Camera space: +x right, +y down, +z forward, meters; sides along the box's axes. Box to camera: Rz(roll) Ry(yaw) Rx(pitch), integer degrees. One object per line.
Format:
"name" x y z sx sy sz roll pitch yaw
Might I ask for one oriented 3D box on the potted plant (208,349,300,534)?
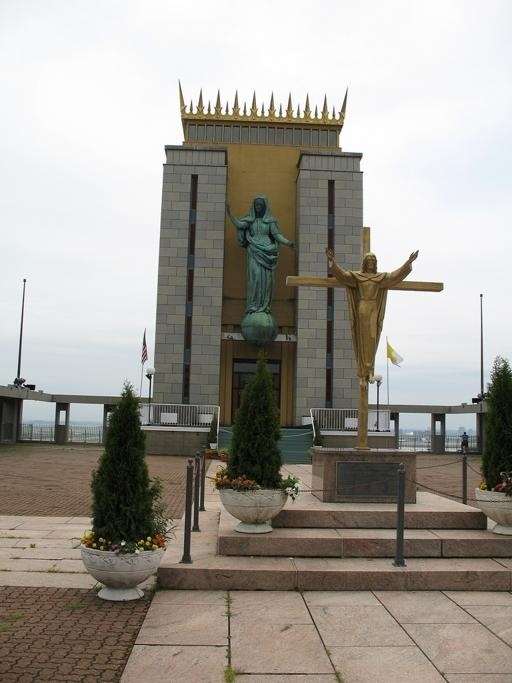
"potted plant" -0.010 1.253 8.170 0.933 2.130 0.559 2 -4 -4

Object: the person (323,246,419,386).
"person" 1.874 -0.429 10.693 1.211 2.052 0.643 1 -4 8

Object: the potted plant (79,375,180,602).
"potted plant" -1.283 1.451 6.455 0.812 2.057 0.477 2 -4 -15
